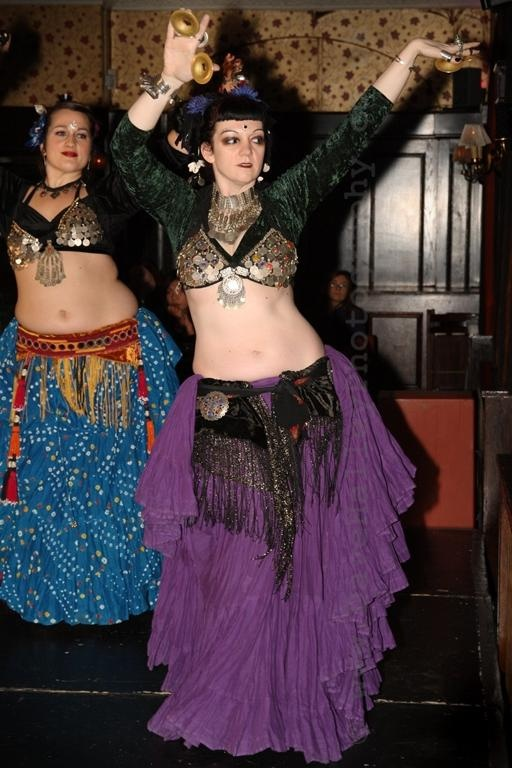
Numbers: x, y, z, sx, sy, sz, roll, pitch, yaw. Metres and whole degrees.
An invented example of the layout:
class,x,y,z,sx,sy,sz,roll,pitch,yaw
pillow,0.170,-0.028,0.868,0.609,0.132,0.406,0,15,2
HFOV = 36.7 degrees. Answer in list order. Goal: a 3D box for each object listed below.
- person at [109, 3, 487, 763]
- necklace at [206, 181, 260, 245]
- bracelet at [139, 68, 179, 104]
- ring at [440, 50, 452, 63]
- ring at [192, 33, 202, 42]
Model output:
class,x,y,z,sx,sy,sz,roll,pitch,yaw
person,0.036,0.017,1.853,0.774,1.653,0.427,1,3,-17
necklace,-0.058,-0.390,1.817,0.114,0.144,0.084,-8,49,-15
bracelet,-0.225,-0.654,1.694,0.062,0.078,0.087,1,3,-11
ring,0.436,-0.749,1.762,0.030,0.037,0.016,2,3,8
ring,-0.124,-0.712,1.591,0.018,0.019,0.006,39,7,-9
